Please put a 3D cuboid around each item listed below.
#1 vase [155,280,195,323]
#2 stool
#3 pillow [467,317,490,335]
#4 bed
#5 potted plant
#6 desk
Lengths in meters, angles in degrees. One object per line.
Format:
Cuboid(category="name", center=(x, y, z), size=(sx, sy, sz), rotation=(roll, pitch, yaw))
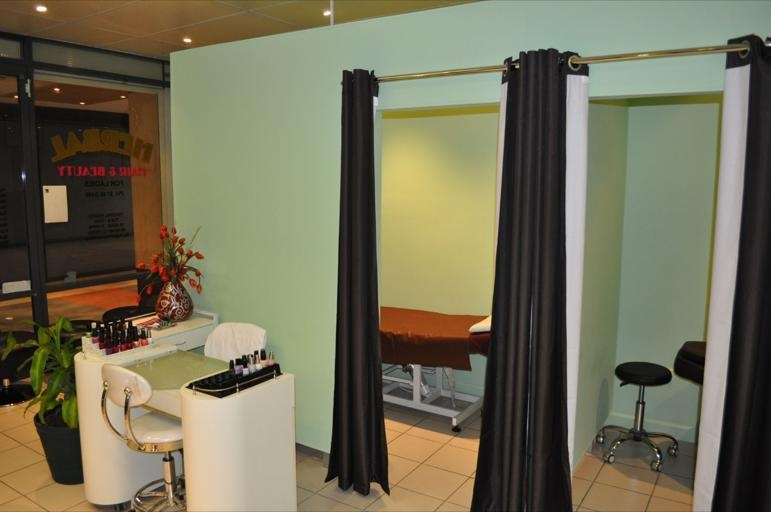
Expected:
Cuboid(category="vase", center=(-2.017, 0.412, 5.184), size=(0.296, 0.407, 0.294), rotation=(4, 6, 39))
Cuboid(category="stool", center=(2.381, 1.437, 5.160), size=(0.694, 0.874, 0.763), rotation=(4, 10, 29))
Cuboid(category="pillow", center=(0.910, 0.687, 5.375), size=(0.171, 0.051, 0.167), rotation=(-4, 3, -32))
Cuboid(category="bed", center=(0.509, 1.137, 5.792), size=(1.523, 0.888, 0.737), rotation=(2, 5, 34))
Cuboid(category="potted plant", center=(-3.138, 1.208, 5.056), size=(0.609, 1.394, 1.733), rotation=(-7, 11, -34))
Cuboid(category="desk", center=(-1.555, 1.381, 4.254), size=(1.615, 1.258, 0.782), rotation=(4, 10, 28))
